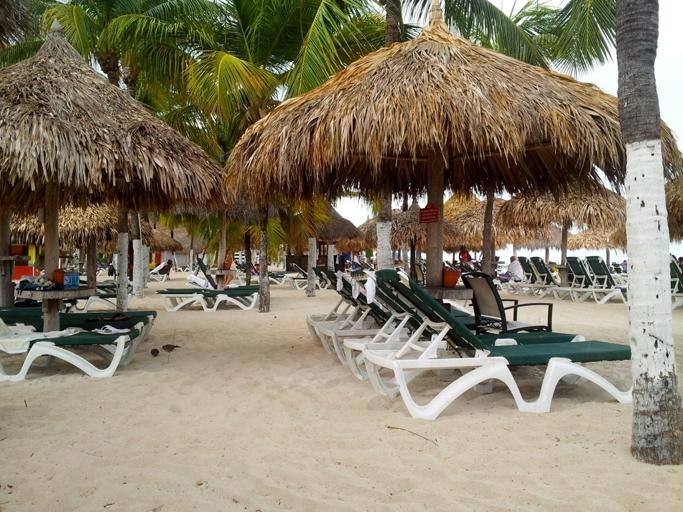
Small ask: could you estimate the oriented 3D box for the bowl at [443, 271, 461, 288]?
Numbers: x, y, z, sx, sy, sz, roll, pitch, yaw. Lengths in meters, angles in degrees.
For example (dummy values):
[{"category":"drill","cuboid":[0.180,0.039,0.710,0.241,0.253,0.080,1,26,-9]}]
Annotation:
[{"category":"bowl","cuboid":[1.368,0.288,7.573,0.214,0.187,0.183,-1,-3,-1]}]
